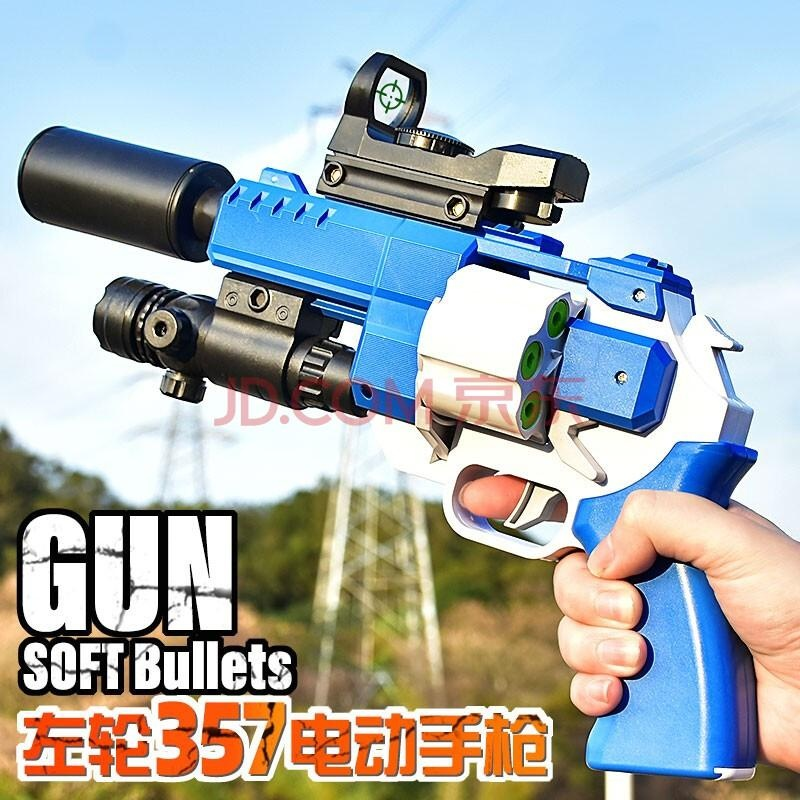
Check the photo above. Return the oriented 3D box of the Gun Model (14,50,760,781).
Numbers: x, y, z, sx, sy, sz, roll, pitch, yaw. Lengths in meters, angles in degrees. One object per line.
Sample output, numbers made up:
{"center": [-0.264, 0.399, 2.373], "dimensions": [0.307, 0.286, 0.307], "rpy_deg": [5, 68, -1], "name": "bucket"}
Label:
{"center": [-0.005, -0.302, 3.055], "dimensions": [2.031, 1.362, 0.482], "rpy_deg": [12, 5, 24], "name": "Gun Model"}
